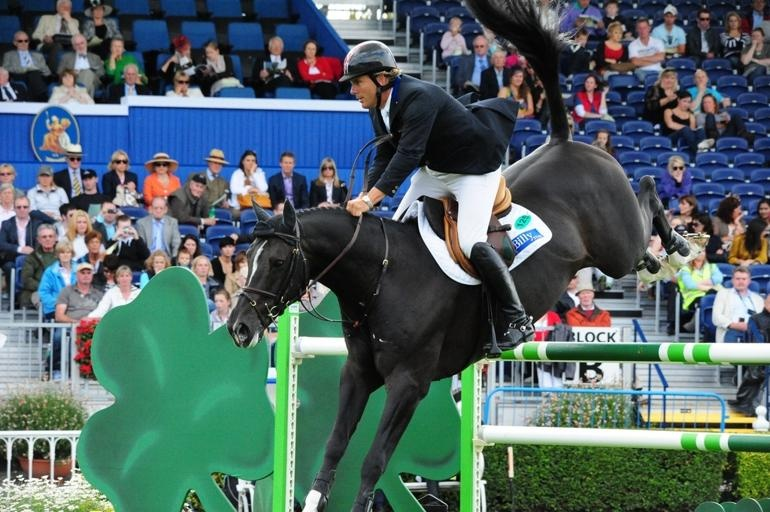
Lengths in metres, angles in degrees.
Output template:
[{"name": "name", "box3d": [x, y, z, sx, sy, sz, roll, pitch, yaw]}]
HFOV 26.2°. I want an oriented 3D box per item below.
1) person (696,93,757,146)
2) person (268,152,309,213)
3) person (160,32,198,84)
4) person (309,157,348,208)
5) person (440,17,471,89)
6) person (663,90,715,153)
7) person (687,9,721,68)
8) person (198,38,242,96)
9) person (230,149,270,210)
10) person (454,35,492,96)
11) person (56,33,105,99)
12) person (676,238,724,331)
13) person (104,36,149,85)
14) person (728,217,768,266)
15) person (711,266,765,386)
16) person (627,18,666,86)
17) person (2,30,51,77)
[{"name": "person", "box3d": [5.618, -2.222, 27.702, 0.458, 0.843, 1.053, 1, -10, 17]}, {"name": "person", "box3d": [-1.474, -1.088, 24.925, 0.599, 1.075, 0.400, -6, -24, 20]}, {"name": "person", "box3d": [-3.418, -3.203, 27.433, 0.460, 0.902, 0.286, 7, -9, 4]}, {"name": "person", "box3d": [-0.875, -1.046, 24.773, 0.717, 0.810, 0.659, 6, -11, -43]}, {"name": "person", "box3d": [1.132, -3.449, 28.470, 0.491, 1.166, 0.730, 7, 16, -8]}, {"name": "person", "box3d": [5.034, -2.185, 27.518, 0.605, 1.098, 0.617, 6, -7, -13]}, {"name": "person", "box3d": [5.693, -3.814, 29.534, 0.459, 1.266, 0.382, 3, -5, 19]}, {"name": "person", "box3d": [-2.781, -3.069, 27.469, 0.378, 0.998, 0.515, 1, -3, 10]}, {"name": "person", "box3d": [-2.046, -1.064, 25.013, 0.641, 1.153, 0.505, 9, -18, -9]}, {"name": "person", "box3d": [1.511, -2.869, 27.433, 0.708, 1.445, 0.531, 3, 11, 2]}, {"name": "person", "box3d": [-5.321, -3.065, 26.957, 0.843, 1.166, 1.033, -4, 16, -18]}, {"name": "person", "box3d": [4.403, 0.441, 23.409, 0.393, 1.452, 0.759, 4, -1, -7]}, {"name": "person", "box3d": [-4.365, -3.141, 27.175, 0.569, 0.839, 0.320, 8, -10, -19]}, {"name": "person", "box3d": [5.240, -0.224, 24.362, 0.749, 0.860, 0.649, 1, 0, -5]}, {"name": "person", "box3d": [4.827, 0.959, 22.978, 0.495, 1.589, 0.759, 1, -4, -5]}, {"name": "person", "box3d": [4.554, -3.504, 28.851, 0.419, 1.235, 0.513, 1, -3, -12]}, {"name": "person", "box3d": [-5.944, -3.278, 27.256, 0.669, 0.605, 0.848, -18, 16, -26]}]
